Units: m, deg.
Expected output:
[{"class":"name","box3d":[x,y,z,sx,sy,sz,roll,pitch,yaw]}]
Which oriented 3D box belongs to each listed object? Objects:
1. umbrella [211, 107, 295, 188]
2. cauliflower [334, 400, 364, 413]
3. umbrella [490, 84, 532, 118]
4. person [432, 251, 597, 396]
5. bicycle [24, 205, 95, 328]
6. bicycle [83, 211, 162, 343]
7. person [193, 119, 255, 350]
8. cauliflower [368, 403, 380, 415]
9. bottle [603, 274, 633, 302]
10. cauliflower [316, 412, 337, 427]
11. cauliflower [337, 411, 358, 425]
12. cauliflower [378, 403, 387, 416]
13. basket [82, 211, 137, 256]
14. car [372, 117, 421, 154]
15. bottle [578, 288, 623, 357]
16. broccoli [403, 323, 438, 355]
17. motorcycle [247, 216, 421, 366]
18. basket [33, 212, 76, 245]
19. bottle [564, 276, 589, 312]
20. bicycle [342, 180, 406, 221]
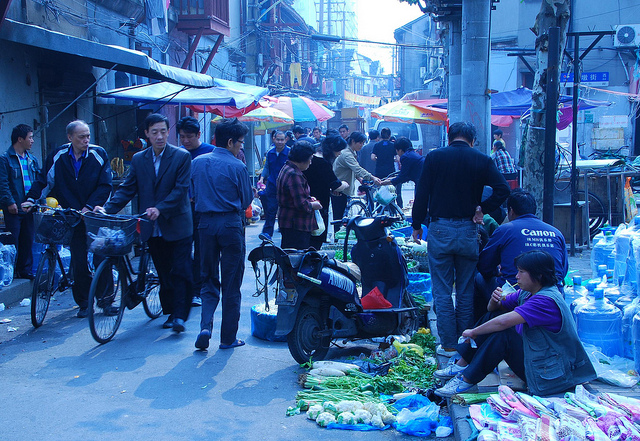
[{"class":"umbrella","box3d":[-2.425,-2.025,19.187,2.824,3.358,2.814,0,4,2]},{"class":"cauliflower","box3d":[0.294,1.907,6.224,0.146,0.062,0.136,3,-5,-40]},{"class":"umbrella","box3d":[5.121,-3.231,16.266,1.014,0.786,1.621,2,5,16]},{"class":"person","box3d":[2.032,1.046,6.359,1.571,1.401,0.988,-2,2,2]},{"class":"bicycle","box3d":[-3.766,0.598,8.920,0.780,1.601,2.447,5,-1,-3]},{"class":"bicycle","box3d":[-2.628,0.717,8.087,0.671,1.703,1.383,2,5,13]},{"class":"person","box3d":[-1.251,0.393,7.696,0.697,2.490,0.428,0,5,-13]},{"class":"cauliflower","box3d":[0.541,1.920,6.158,0.090,0.098,0.035,-6,-9,-5]},{"class":"bottle","box3d":[3.498,0.825,7.152,0.327,0.336,0.327,-6,8,-33]},{"class":"cauliflower","box3d":[0.058,2.010,6.123,0.188,0.109,0.122,-1,5,-20]},{"class":"cauliflower","box3d":[0.275,1.984,6.093,0.135,0.084,0.107,9,2,-27]},{"class":"cauliflower","box3d":[0.640,1.924,6.184,0.027,0.081,0.061,-17,-15,31]},{"class":"basket","box3d":[-2.665,0.166,7.698,0.559,0.418,0.511,1,-3,7]},{"class":"car","box3d":[3.758,-4.282,29.037,2.250,2.312,3.857,0,10,-6]},{"class":"bottle","box3d":[3.203,1.161,6.901,0.393,0.714,0.412,3,-15,1]},{"class":"broccoli","box3d":[1.273,1.462,7.494,0.276,0.183,0.279,6,7,-29]},{"class":"motorcycle","box3d":[0.401,0.859,7.792,1.079,1.814,2.956,-5,-4,41]},{"class":"basket","box3d":[-3.697,0.106,8.300,0.618,0.443,0.626,7,0,-34]},{"class":"bottle","box3d":[3.129,0.883,7.237,0.240,0.443,0.249,-2,-6,0]},{"class":"bicycle","box3d":[1.096,-0.384,13.225,1.371,0.928,0.878,-3,6,-8]}]
